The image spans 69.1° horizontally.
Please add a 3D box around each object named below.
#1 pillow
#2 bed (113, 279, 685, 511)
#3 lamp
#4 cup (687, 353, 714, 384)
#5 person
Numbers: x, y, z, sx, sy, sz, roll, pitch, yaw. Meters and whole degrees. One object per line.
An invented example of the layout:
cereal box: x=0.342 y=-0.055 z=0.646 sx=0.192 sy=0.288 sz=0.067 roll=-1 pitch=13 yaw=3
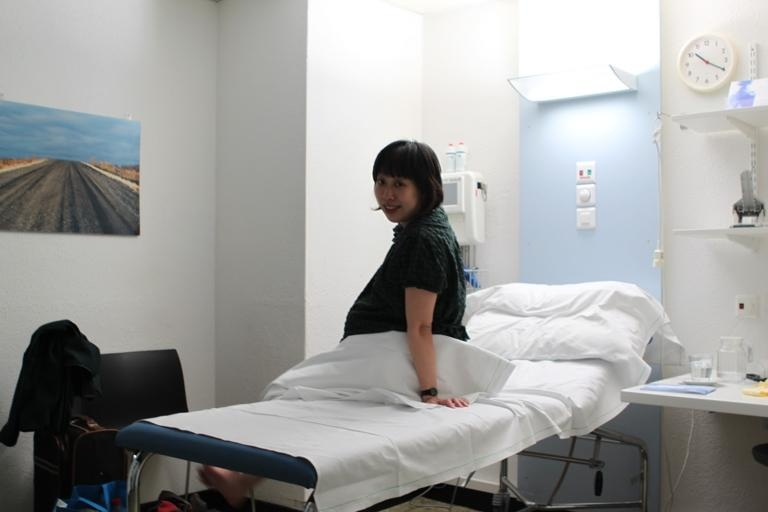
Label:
pillow: x=1.013 y=0.375 z=3.279 sx=0.685 sy=0.191 sz=0.607 roll=-5 pitch=12 yaw=29
bed: x=0.200 y=0.698 z=2.785 sx=1.356 sy=0.610 sz=2.077 roll=-7 pitch=-10 yaw=41
lamp: x=1.237 y=-1.115 z=3.641 sx=0.735 sy=0.231 sz=0.366 roll=11 pitch=16 yaw=30
cup: x=1.558 y=0.552 z=2.742 sx=0.135 sy=0.141 sz=0.108 roll=-2 pitch=-3 yaw=30
person: x=-0.310 y=0.220 z=2.909 sx=1.425 sy=1.553 sz=0.882 roll=-1 pitch=-14 yaw=6
